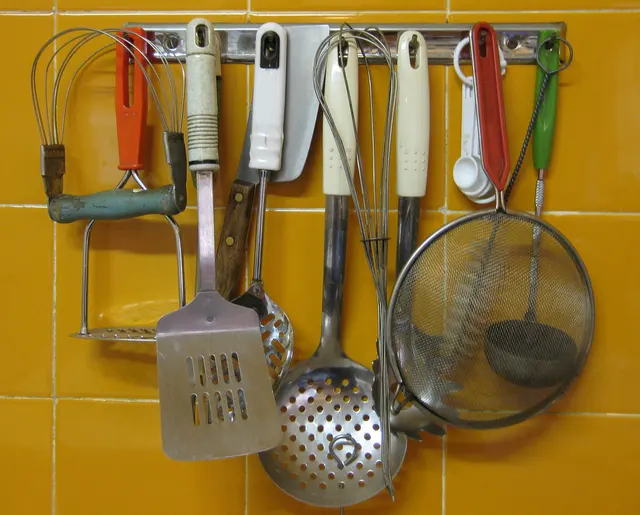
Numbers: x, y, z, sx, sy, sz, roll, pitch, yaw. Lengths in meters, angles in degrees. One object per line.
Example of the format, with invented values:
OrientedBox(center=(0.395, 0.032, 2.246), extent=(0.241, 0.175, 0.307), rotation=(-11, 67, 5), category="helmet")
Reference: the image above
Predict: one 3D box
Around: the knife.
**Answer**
OrientedBox(center=(-0.075, -0.106, 1.423), extent=(0.116, 0.502, 0.023), rotation=(9, 8, 5), category="knife")

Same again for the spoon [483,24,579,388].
OrientedBox(center=(0.320, -0.074, 1.363), extent=(0.135, 0.497, 0.165), rotation=(3, 11, 8), category="spoon")
